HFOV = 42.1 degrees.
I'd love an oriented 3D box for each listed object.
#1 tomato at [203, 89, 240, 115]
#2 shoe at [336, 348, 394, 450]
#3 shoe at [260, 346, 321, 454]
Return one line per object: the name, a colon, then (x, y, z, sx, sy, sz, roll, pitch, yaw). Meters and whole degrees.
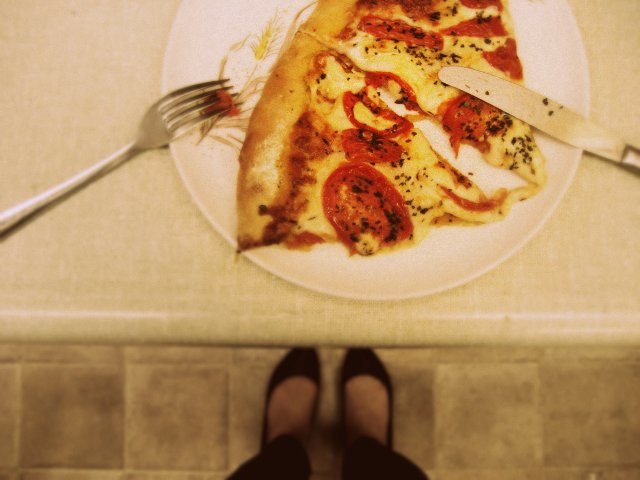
tomato: (-0.237, -0.337, 2.059, 0.059, 0.064, 0.019, 30, -11, -6)
shoe: (0.120, 0.399, 2.148, 0.137, 0.059, 0.494, 3, 22, -1)
shoe: (-0.065, 0.370, 2.244, 0.111, 0.368, 0.096, 6, 4, -4)
